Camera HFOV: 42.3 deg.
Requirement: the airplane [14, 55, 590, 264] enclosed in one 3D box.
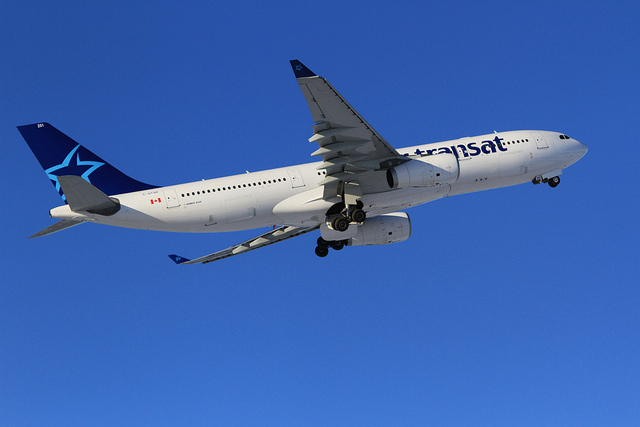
[{"bbox_3d":[-0.981,-1.284,34.764,15.906,4.399,11.560,-4,-42,-20],"label":"airplane"}]
